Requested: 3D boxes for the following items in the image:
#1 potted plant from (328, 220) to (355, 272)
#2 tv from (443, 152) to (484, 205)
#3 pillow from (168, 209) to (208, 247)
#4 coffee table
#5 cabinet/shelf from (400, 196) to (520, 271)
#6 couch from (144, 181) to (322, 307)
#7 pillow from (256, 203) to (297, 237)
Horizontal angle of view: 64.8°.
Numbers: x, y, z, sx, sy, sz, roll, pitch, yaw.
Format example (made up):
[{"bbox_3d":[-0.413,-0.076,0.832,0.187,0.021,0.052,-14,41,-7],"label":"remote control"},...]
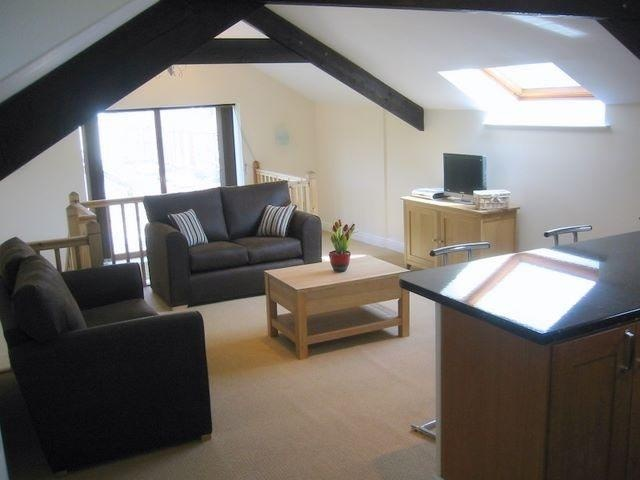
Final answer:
[{"bbox_3d":[0.196,0.057,4.467,0.214,0.474,0.274,0,1,-35],"label":"potted plant"},{"bbox_3d":[1.624,-0.696,5.678,0.131,0.555,0.628,-13,16,-26],"label":"tv"},{"bbox_3d":[-1.417,-0.106,5.389,0.109,0.366,0.365,-25,-2,29],"label":"pillow"},{"bbox_3d":[0.210,0.562,4.633,1.259,0.642,0.973,-10,11,-9],"label":"coffee table"},{"bbox_3d":[1.549,-0.006,5.893,0.509,0.933,1.488,-8,13,-22],"label":"cabinet/shelf"},{"bbox_3d":[-0.957,0.023,5.711,1.774,1.191,0.943,-7,13,-27],"label":"couch"},{"bbox_3d":[-0.496,-0.243,5.747,0.377,0.374,0.117,11,-9,37],"label":"pillow"}]
